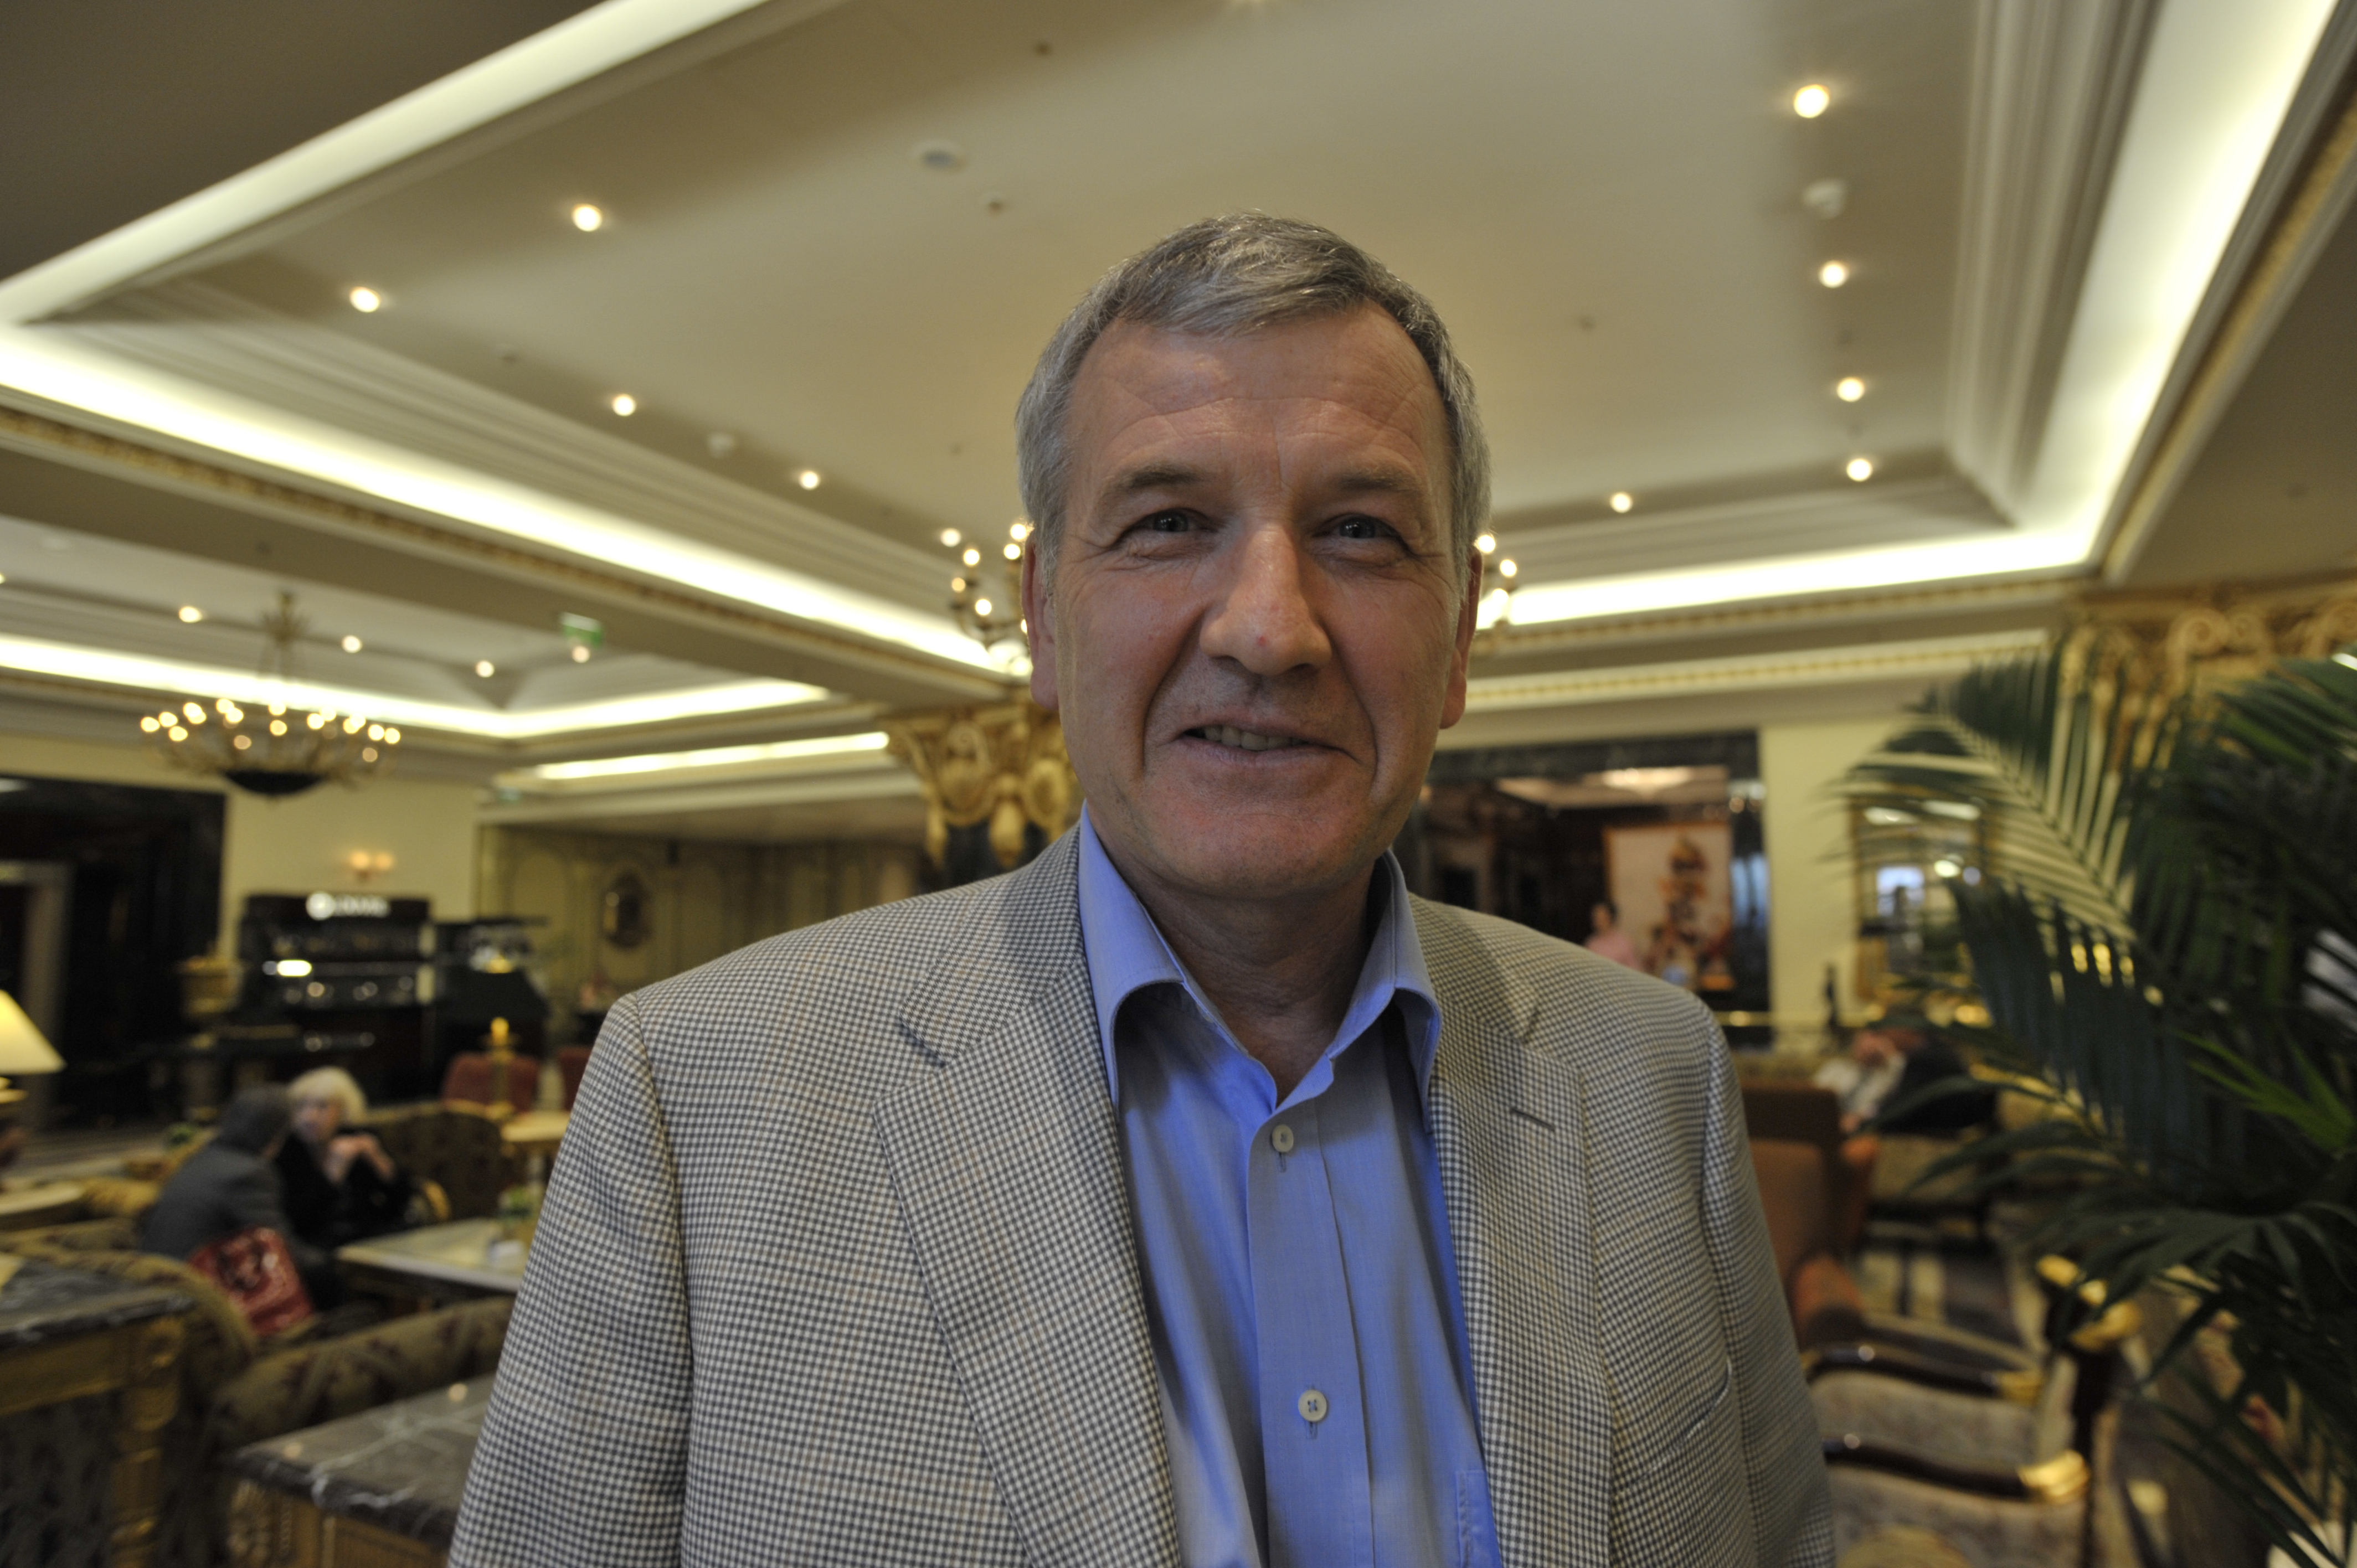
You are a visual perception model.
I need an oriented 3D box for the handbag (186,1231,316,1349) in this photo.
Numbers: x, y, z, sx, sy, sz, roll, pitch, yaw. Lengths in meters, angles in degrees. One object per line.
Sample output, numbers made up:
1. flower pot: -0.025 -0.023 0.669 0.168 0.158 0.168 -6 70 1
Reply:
1. handbag: -3.698 1.964 6.457 0.356 0.384 0.502 1 -6 5
